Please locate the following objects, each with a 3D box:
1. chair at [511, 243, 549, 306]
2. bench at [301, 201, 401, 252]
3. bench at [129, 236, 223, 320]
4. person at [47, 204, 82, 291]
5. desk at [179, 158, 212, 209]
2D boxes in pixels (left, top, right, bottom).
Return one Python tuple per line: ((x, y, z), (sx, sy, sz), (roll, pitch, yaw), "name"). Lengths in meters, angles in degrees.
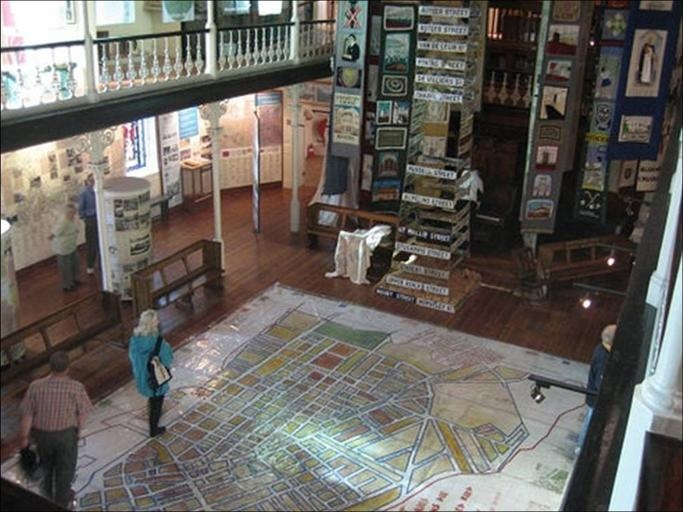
((4.242, 0.420, 11.710), (0.879, 0.435, 1.143), (9, 50, 12), "chair")
((0.232, -0.986, 13.832), (2.392, 1.074, 2.259), (1, 22, 3), "bench")
((-3.415, 0.505, 10.749), (0.441, 0.812, 1.639), (26, 44, 24), "bench")
((-5.797, -0.224, 10.981), (0.582, 1.959, 0.528), (-12, 26, -26), "person")
((-4.376, -2.181, 15.358), (0.754, 0.994, 1.029), (32, 51, 27), "desk")
